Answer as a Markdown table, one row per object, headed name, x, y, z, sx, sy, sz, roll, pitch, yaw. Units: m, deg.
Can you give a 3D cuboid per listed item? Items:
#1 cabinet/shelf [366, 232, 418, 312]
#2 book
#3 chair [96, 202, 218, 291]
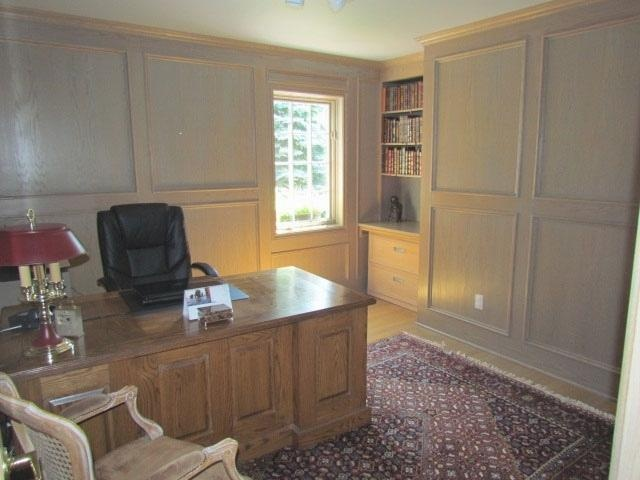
| name | x | y | z | sx | sy | sz | roll | pitch | yaw |
| --- | --- | --- | --- | --- | --- | --- | --- | --- | --- |
| cabinet/shelf | 0.787 | 0.342 | 4.989 | 0.388 | 0.725 | 0.698 | -4 | 10 | -34 |
| book | 0.959 | -1.237 | 5.133 | 0.289 | 1.040 | 0.646 | -11 | 14 | -33 |
| chair | -1.361 | 0.024 | 3.737 | 0.656 | 1.053 | 0.781 | -8 | 8 | -32 |
